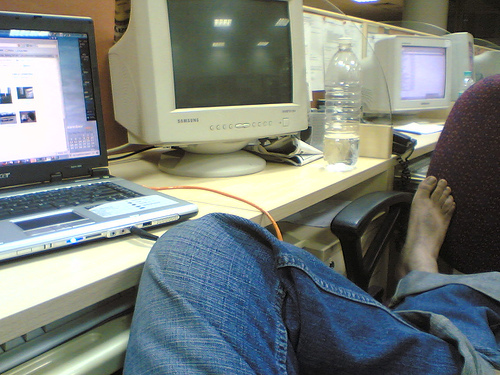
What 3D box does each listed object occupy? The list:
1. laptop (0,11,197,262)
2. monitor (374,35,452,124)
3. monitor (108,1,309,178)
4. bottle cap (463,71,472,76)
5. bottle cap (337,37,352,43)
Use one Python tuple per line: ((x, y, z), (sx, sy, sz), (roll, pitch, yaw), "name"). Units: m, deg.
((-0.313, -0.117, 0.659), (0.290, 0.384, 0.316), (-13, 17, -29), "laptop")
((0.716, -0.533, 2.007), (0.611, 0.435, 0.340), (-14, 14, -39), "monitor")
((-0.178, -0.298, 1.198), (0.745, 0.385, 0.497), (-8, 20, -33), "monitor")
((1.193, -0.627, 2.149), (0.044, 0.016, 0.042), (6, 14, 36), "bottle cap")
((0.314, -0.487, 1.290), (0.048, 0.011, 0.046), (-7, 12, -40), "bottle cap")
